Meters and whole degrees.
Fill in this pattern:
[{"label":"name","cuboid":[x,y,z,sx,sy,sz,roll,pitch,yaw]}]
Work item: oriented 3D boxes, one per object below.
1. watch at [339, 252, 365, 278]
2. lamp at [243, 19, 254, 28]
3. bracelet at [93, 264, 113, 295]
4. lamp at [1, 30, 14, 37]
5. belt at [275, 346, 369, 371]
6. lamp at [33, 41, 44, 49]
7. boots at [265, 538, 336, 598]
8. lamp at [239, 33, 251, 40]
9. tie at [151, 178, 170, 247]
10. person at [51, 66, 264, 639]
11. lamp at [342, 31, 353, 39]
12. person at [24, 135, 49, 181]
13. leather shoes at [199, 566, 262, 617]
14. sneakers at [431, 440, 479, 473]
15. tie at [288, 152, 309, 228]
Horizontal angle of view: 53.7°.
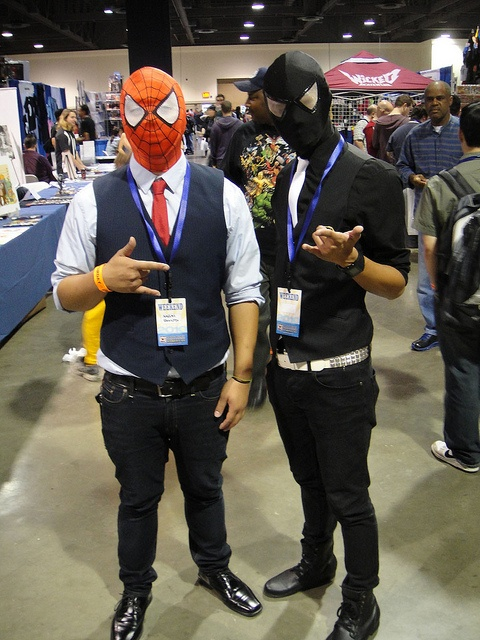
[{"label":"watch","cuboid":[0.220,-0.109,0.943,0.041,0.038,0.044,21,44,39]},{"label":"lamp","cuboid":[0.373,-12.458,20.112,0.401,0.202,0.864,0,16,3]},{"label":"bracelet","cuboid":[-0.271,-0.078,0.915,0.036,0.055,0.051,-1,7,19]},{"label":"lamp","cuboid":[-9.587,-11.744,19.562,0.548,0.139,0.546,-2,9,-19]},{"label":"belt","cuboid":[0.182,0.091,1.080,0.209,0.061,0.081,2,16,10]},{"label":"lamp","cuboid":[-9.022,-12.218,21.241,0.426,0.191,0.404,-3,16,-8]},{"label":"boots","cuboid":[0.181,0.736,1.448,0.243,0.167,0.087,-8,18,-22]},{"label":"lamp","cuboid":[0.170,-12.505,21.010,0.373,0.224,0.599,2,16,8]},{"label":"tie","cuboid":[-0.169,-0.229,1.006,0.034,0.137,0.059,-3,16,-8]},{"label":"person","cuboid":[-0.160,0.145,1.141,0.487,1.382,0.234,-7,17,-20]},{"label":"lamp","cuboid":[4.813,-12.688,21.197,0.504,0.238,0.365,-2,16,-5]},{"label":"person","cuboid":[-3.178,-2.524,7.453,0.398,0.709,0.675,-7,17,-20]},{"label":"leather shoes","cuboid":[-0.034,0.770,1.447,0.226,0.094,0.084,13,26,37]},{"label":"sneakers","cuboid":[0.983,0.633,2.196,0.073,0.081,0.196,-15,30,-25]},{"label":"tie","cuboid":[0.125,-0.316,1.109,0.032,0.131,0.097,4,13,-6]}]
